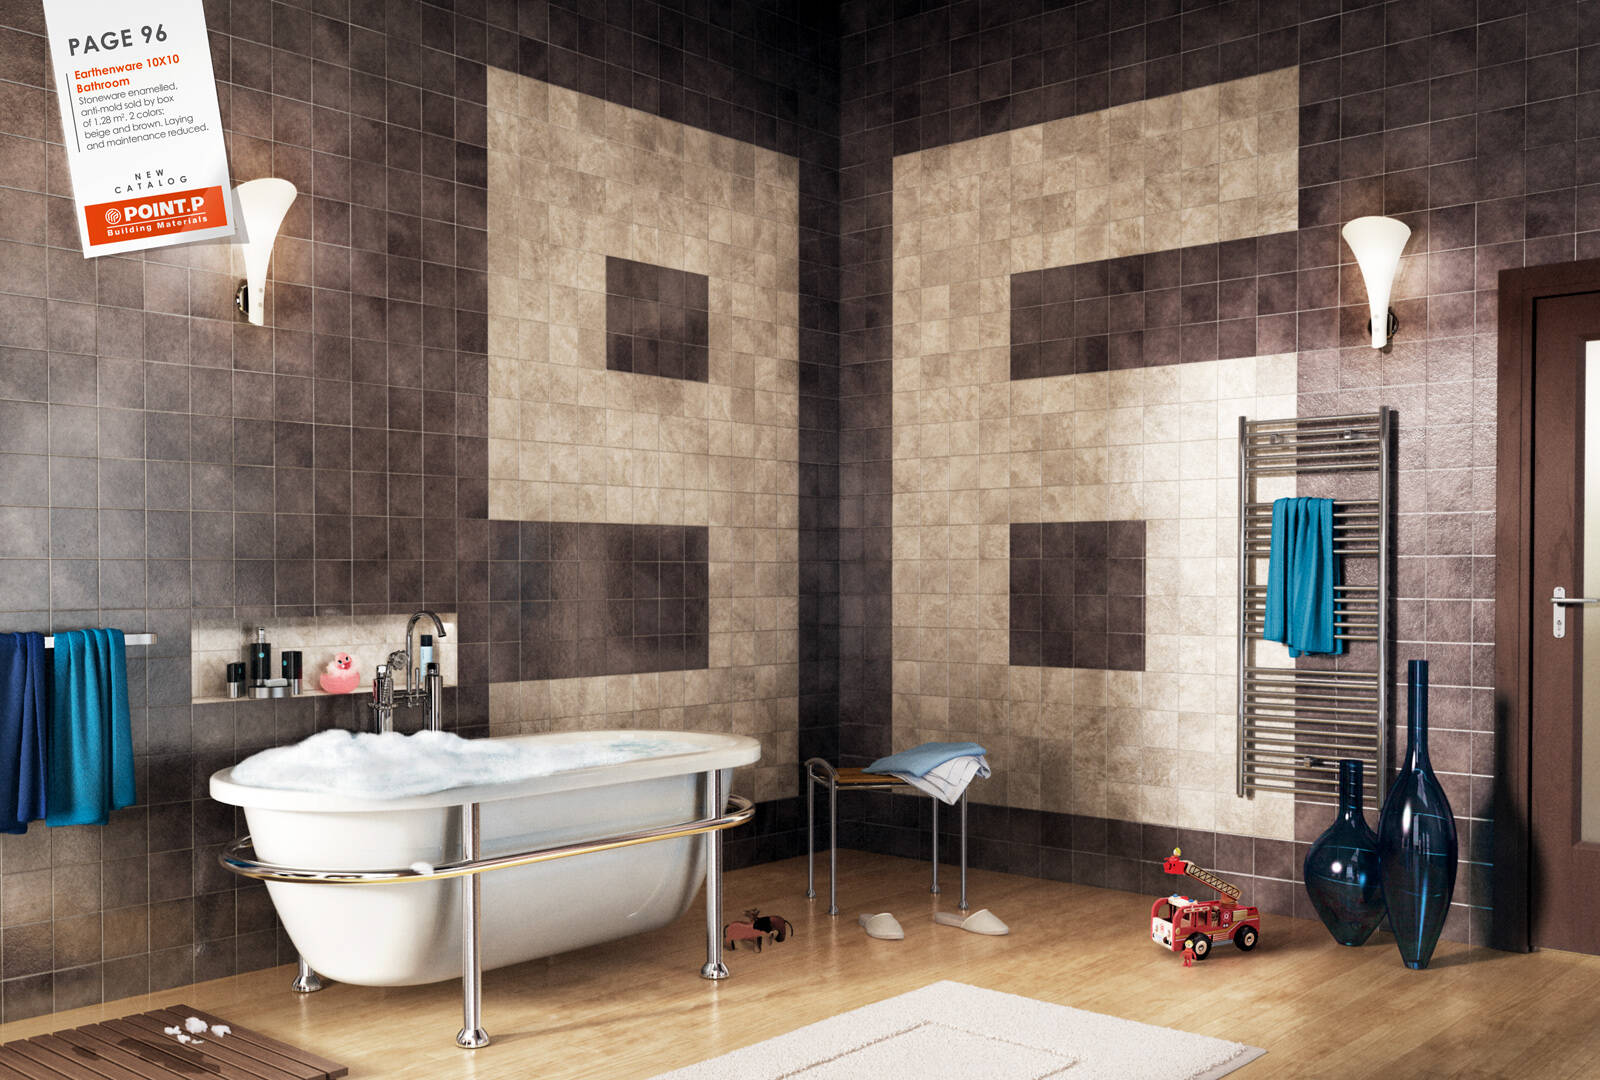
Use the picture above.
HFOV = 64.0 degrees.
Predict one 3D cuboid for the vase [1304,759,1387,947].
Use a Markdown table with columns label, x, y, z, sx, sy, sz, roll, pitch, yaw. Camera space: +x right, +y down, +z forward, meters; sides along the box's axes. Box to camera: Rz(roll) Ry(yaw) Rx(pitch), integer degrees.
| label | x | y | z | sx | sy | sz | roll | pitch | yaw |
| --- | --- | --- | --- | --- | --- | --- | --- | --- | --- |
| vase | 2.294 | 1.338 | 5.432 | 0.299 | 0.827 | 0.211 | -2 | -1 | 21 |

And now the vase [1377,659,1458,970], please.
| label | x | y | z | sx | sy | sz | roll | pitch | yaw |
| --- | --- | --- | --- | --- | --- | --- | --- | --- | --- |
| vase | 2.495 | 1.116 | 5.193 | 0.268 | 1.336 | 0.154 | -2 | 0 | -8 |

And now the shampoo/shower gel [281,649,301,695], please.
| label | x | y | z | sx | sy | sz | roll | pitch | yaw |
| --- | --- | --- | --- | --- | --- | --- | --- | --- | --- |
| shampoo/shower gel | -2.061 | 0.548 | 5.221 | 0.055 | 0.155 | 0.097 | -2 | -1 | 32 |

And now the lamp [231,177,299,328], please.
| label | x | y | z | sx | sy | sz | roll | pitch | yaw |
| --- | --- | --- | --- | --- | --- | --- | --- | --- | --- |
| lamp | -2.121 | -1.145 | 5.101 | 0.235 | 0.493 | 0.191 | -2 | -1 | -24 |

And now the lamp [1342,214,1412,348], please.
| label | x | y | z | sx | sy | sz | roll | pitch | yaw |
| --- | --- | --- | --- | --- | --- | --- | --- | --- | --- |
| lamp | 2.501 | -1.113 | 5.548 | 0.271 | 0.623 | 0.246 | -2 | -1 | 26 |

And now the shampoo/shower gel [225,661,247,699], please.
| label | x | y | z | sx | sy | sz | roll | pitch | yaw |
| --- | --- | --- | --- | --- | --- | --- | --- | --- | --- |
| shampoo/shower gel | -2.247 | 0.567 | 5.106 | 0.069 | 0.130 | 0.071 | -3 | -1 | 35 |

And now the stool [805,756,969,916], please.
| label | x | y | z | sx | sy | sz | roll | pitch | yaw |
| --- | --- | --- | --- | --- | --- | --- | --- | --- | --- |
| stool | 0.423 | 1.428 | 6.264 | 0.731 | 0.717 | 0.641 | 1 | -7 | -11 |

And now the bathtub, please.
| label | x | y | z | sx | sy | sz | roll | pitch | yaw |
| --- | --- | --- | --- | --- | --- | --- | --- | --- | --- |
| bathtub | -1.161 | 1.261 | 4.907 | 1.897 | 0.876 | 0.641 | -1 | -1 | -34 |

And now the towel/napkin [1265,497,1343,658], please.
| label | x | y | z | sx | sy | sz | roll | pitch | yaw |
| --- | --- | --- | --- | --- | --- | --- | --- | --- | --- |
| towel/napkin | 2.224 | 0.168 | 5.688 | 0.305 | 0.745 | 0.083 | -2 | 0 | 24 |

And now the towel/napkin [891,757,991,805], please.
| label | x | y | z | sx | sy | sz | roll | pitch | yaw |
| --- | --- | --- | --- | --- | --- | --- | --- | --- | --- |
| towel/napkin | 0.660 | 1.077 | 5.796 | 0.262 | 0.101 | 0.277 | -5 | 3 | 38 |

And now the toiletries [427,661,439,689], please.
| label | x | y | z | sx | sy | sz | roll | pitch | yaw |
| --- | --- | --- | --- | --- | --- | --- | --- | --- | --- |
| toiletries | -1.552 | 0.584 | 5.452 | 0.048 | 0.094 | 0.082 | -2 | -1 | 20 |

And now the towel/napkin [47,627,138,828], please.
| label | x | y | z | sx | sy | sz | roll | pitch | yaw |
| --- | --- | --- | --- | --- | --- | --- | --- | --- | --- |
| towel/napkin | -2.617 | 0.686 | 4.716 | 0.297 | 0.593 | 0.126 | -1 | -1 | -44 |

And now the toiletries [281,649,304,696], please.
| label | x | y | z | sx | sy | sz | roll | pitch | yaw |
| --- | --- | --- | --- | --- | --- | --- | --- | --- | --- |
| toiletries | -2.061 | 0.548 | 5.221 | 0.055 | 0.155 | 0.097 | -2 | -1 | 32 |

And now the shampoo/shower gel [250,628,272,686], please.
| label | x | y | z | sx | sy | sz | roll | pitch | yaw |
| --- | --- | --- | --- | --- | --- | --- | --- | --- | --- |
| shampoo/shower gel | -2.186 | 0.482 | 5.184 | 0.085 | 0.200 | 0.101 | -2 | -1 | -23 |
